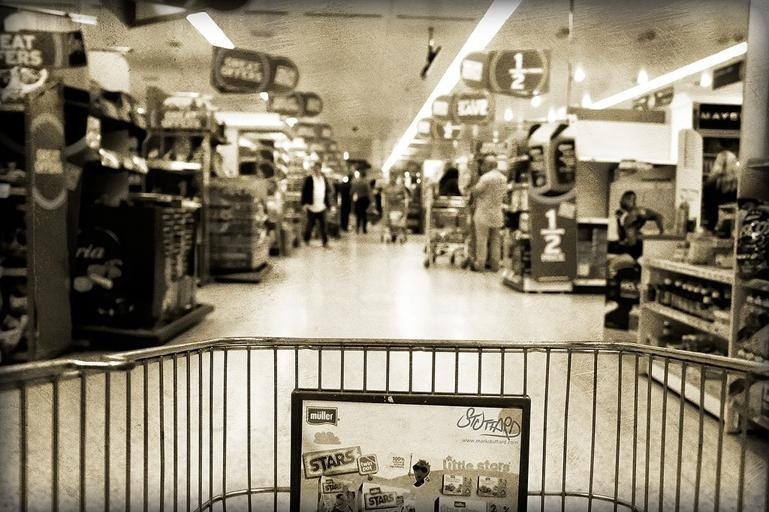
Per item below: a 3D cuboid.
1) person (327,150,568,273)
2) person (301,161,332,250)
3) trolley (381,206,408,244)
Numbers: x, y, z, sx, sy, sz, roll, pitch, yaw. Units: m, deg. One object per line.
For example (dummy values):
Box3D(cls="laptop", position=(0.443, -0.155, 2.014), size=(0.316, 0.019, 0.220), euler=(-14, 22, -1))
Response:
Box3D(cls="person", position=(1.037, -0.375, 7.313), size=(1.927, 1.081, 0.426), euler=(2, 3, 6))
Box3D(cls="person", position=(-0.704, -0.534, 7.021), size=(0.278, 0.857, 0.116), euler=(1, 3, -5))
Box3D(cls="trolley", position=(0.091, -0.329, 7.175), size=(0.317, 0.380, 0.299), euler=(5, -2, -37))
